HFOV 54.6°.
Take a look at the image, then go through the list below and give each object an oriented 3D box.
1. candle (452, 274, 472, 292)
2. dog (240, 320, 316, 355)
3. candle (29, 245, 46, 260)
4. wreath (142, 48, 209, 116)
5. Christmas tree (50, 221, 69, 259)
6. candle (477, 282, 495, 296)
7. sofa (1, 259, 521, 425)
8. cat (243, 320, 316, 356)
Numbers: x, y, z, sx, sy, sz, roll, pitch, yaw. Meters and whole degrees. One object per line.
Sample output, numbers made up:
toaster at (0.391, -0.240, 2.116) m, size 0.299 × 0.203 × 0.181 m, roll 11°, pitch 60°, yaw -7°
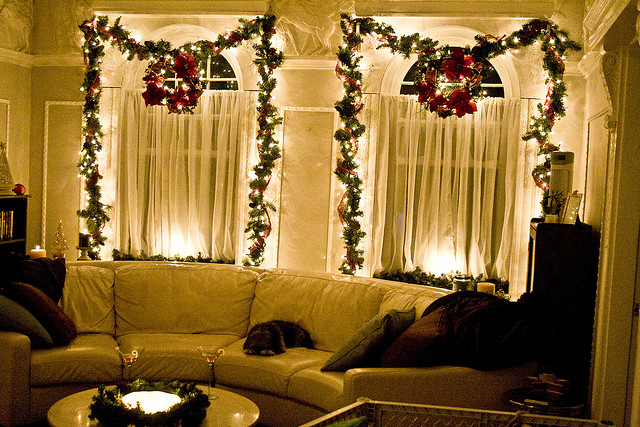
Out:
candle at (1.349, 0.674, 6.071) m, size 0.202 × 0.185 × 0.198 m, roll 0°, pitch 0°, yaw -15°
dog at (-0.414, 1.130, 5.564) m, size 0.443 × 0.235 × 0.664 m, roll -7°, pitch -6°, yaw 27°
candle at (-2.943, 0.417, 6.583) m, size 0.127 × 0.140 × 0.126 m, roll 1°, pitch -7°, yaw -6°
wreath at (-1.547, -1.447, 6.781) m, size 0.592 × 0.680 × 0.654 m, roll 2°, pitch 3°, yaw -2°
Christmas tree at (-2.737, 0.287, 6.615) m, size 0.138 × 0.343 × 0.312 m, roll 1°, pitch 3°, yaw -22°
candle at (1.444, 0.682, 5.593) m, size 0.119 × 0.101 × 0.119 m, roll 1°, pitch -9°, yaw 6°
sofa at (-1.003, 1.154, 5.416) m, size 2.979 × 1.259 × 1.553 m, roll 3°, pitch 3°, yaw 12°
cat at (-0.438, 1.123, 5.595) m, size 0.495 × 0.250 × 0.710 m, roll -1°, pitch 2°, yaw 27°
